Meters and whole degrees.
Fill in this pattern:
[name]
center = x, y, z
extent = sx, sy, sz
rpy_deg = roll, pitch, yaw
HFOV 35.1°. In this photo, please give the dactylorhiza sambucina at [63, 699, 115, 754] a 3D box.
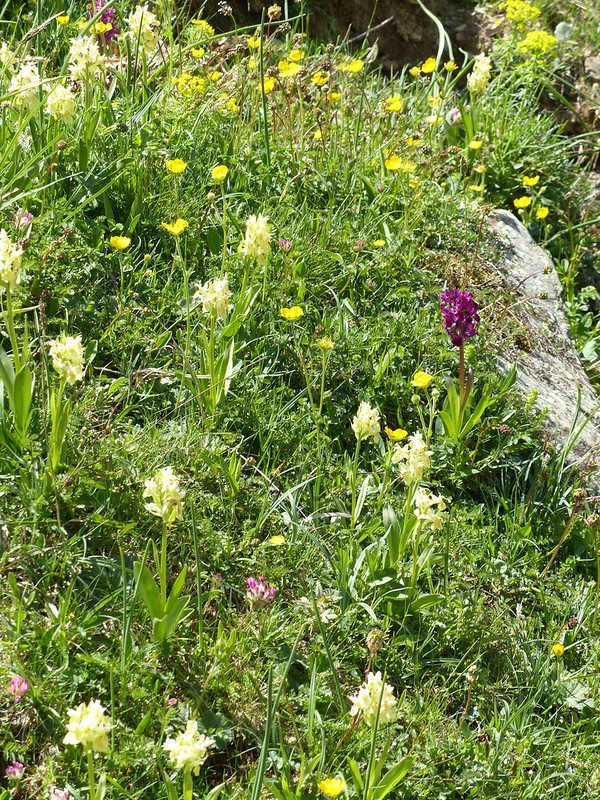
[dactylorhiza sambucina]
center = -0.373, 0.567, 1.676
extent = 0.074, 0.121, 0.088
rpy_deg = 11, 49, -2
